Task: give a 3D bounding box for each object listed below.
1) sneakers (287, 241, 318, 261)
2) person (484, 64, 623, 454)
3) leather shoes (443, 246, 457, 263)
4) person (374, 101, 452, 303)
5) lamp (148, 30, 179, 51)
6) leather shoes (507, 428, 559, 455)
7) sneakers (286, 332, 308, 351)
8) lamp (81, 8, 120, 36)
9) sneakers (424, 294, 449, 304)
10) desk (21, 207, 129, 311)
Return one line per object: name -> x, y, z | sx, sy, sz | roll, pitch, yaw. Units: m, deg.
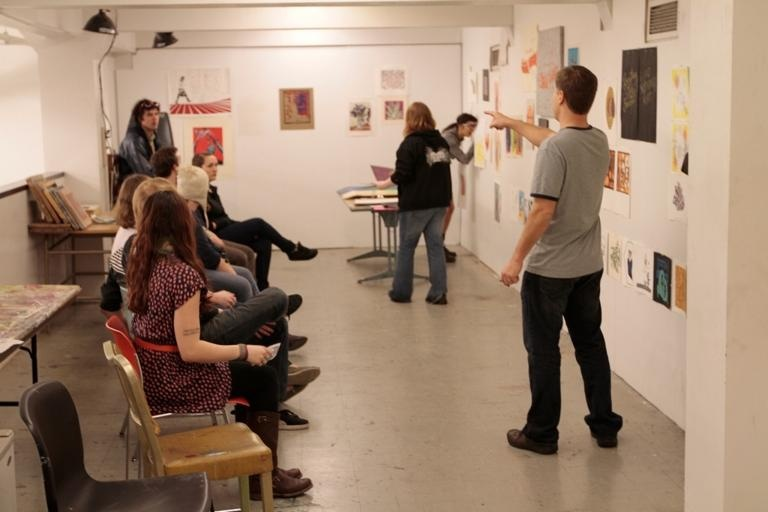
sneakers -> -0.854, -0.038, 6.568 | 0.400, 0.190, 0.155 | -10, 15, -31
person -> 1.100, 0.059, 3.710 | 0.776, 2.357, 0.424 | -3, 14, -10
leather shoes -> 0.974, 0.013, 8.691 | 0.208, 0.122, 0.365 | 0, 9, -6
person -> 0.403, -0.590, 6.809 | 0.688, 2.200, 0.665 | 1, 14, 6
lamp -> -3.070, -3.003, 8.422 | 0.378, 0.179, 0.375 | -4, 7, -16
leather shoes -> 0.953, 1.183, 3.867 | 0.119, 0.118, 0.297 | -5, 12, -43
sneakers -> -0.755, 0.765, 5.348 | 0.313, 0.130, 0.106 | 1, -14, -39
lamp -> -3.108, -2.525, 6.586 | 0.394, 0.264, 0.394 | 12, 17, 3
sneakers -> 0.588, 0.492, 6.819 | 0.094, 0.108, 0.252 | 0, 3, -33
desk -> -3.515, 0.016, 6.650 | 1.008, 0.928, 1.003 | 1, 6, -2
